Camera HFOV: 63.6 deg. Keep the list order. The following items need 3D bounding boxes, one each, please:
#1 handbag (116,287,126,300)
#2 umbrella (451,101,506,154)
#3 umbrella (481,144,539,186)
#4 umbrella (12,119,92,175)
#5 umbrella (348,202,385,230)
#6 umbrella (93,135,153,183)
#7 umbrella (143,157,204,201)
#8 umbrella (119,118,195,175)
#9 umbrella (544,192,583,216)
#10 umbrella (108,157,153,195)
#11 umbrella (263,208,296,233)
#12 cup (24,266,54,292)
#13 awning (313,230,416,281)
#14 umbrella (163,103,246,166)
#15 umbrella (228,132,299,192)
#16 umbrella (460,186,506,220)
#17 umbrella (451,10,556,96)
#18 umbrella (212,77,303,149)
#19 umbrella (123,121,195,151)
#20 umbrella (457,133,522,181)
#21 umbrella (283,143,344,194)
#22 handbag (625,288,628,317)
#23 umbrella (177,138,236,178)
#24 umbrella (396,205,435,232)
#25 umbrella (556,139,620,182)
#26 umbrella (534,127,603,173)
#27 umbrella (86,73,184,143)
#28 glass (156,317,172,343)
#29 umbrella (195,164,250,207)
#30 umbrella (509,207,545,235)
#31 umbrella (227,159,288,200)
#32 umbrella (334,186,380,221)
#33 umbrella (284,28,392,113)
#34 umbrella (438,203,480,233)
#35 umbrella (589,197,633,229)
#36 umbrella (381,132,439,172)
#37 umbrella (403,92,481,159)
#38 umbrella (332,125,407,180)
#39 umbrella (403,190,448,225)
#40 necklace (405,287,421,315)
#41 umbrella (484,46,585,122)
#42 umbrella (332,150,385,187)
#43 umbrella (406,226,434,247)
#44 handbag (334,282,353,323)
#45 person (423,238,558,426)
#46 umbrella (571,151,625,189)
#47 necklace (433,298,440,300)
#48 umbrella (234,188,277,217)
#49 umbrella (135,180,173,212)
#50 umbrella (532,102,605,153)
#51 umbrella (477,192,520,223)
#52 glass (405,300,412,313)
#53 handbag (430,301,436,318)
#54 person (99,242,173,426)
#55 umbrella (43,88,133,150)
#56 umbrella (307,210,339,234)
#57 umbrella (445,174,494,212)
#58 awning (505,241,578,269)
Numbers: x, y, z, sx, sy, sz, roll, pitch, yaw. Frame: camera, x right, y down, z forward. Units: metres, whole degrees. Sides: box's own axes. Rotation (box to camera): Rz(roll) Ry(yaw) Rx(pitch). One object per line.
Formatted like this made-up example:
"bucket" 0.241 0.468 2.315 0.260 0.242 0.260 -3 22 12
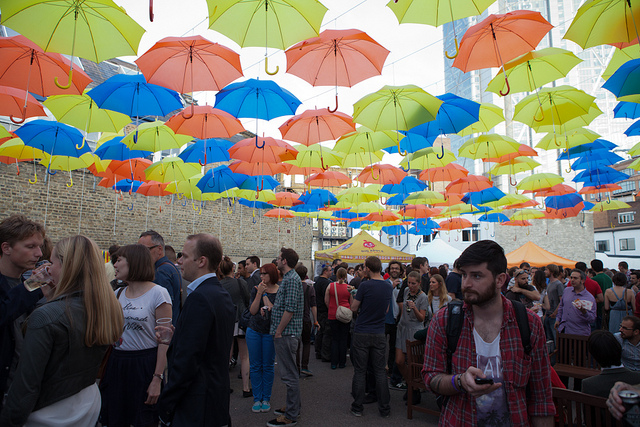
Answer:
"handbag" -2.804 1.116 7.294 0.082 0.106 0.117 17 -50 -13
"umbrella" 3.300 -1.765 11.111 1.264 0.990 1.192 -12 24 0
"umbrella" 4.737 -1.331 12.731 1.142 0.893 1.195 3 0 33
"umbrella" -5.766 -1.419 11.246 1.296 1.021 1.302 17 17 35
"umbrella" 1.803 0.082 19.712 1.036 0.853 1.059 0 -13 -5
"umbrella" -4.640 -1.228 11.995 0.834 0.740 0.754 -2 -17 -40
"umbrella" -3.642 -0.978 12.716 0.918 0.729 0.934 -12 -17 -5
"umbrella" -3.543 -1.539 11.382 0.992 0.811 0.983 -6 -27 -8
"umbrella" 7.864 -0.320 16.597 0.668 0.505 0.662 -1 -28 8
"umbrella" -4.695 -0.954 12.829 0.652 0.651 0.675 -11 -24 7
"umbrella" -2.052 0.355 25.138 1.005 1.003 1.035 -1 -17 -1
"cup" -3.391 0.789 6.238 0.239 0.162 0.156 -27 21 -10
"awning" 1.815 1.287 18.905 3.632 1.601 3.921 3 0 30
"umbrella" -2.417 -1.650 10.920 1.609 1.265 1.620 -4 26 -17
"umbrella" -1.294 -1.282 11.753 1.210 1.047 1.148 -4 -19 5
"umbrella" 5.074 -0.469 15.861 0.814 0.739 0.852 -3 -26 8
"umbrella" 2.883 -2.743 8.273 1.271 0.871 1.191 -10 -20 -11
"umbrella" -1.070 -1.782 9.500 1.316 0.974 1.313 -6 -12 18
"umbrella" -3.582 -1.600 11.514 0.996 0.502 1.016 -3 -24 -10
"umbrella" 3.846 -1.251 11.746 1.122 0.923 1.092 13 -19 -36
"umbrella" -0.104 -1.179 12.828 0.840 0.717 0.831 13 -20 -38
"handbag" 6.488 1.867 10.900 0.071 0.493 0.188 4 4 31
"umbrella" -2.620 -1.358 12.006 0.795 0.522 0.789 7 -19 -39
"umbrella" 3.725 0.206 19.938 1.001 0.871 1.034 0 -15 9
"umbrella" 6.716 -1.380 12.783 0.829 0.658 0.848 -5 -15 -4
"umbrella" 5.739 -1.455 11.899 0.877 0.636 0.851 -1 -14 -17
"umbrella" -3.612 -2.028 10.225 1.593 1.258 1.601 11 23 -3
"glass" -2.081 1.593 7.134 0.251 0.305 0.303 -1 -19 -4
"umbrella" -2.613 -0.850 13.859 0.920 0.806 0.908 -16 -37 -8
"umbrella" 10.319 0.459 25.641 1.576 1.157 1.602 -1 -12 2
"umbrella" -1.567 -0.897 12.612 1.594 1.115 1.614 4 -9 -13
"umbrella" 1.270 -0.322 17.184 1.059 0.811 1.087 -1 -11 4
"umbrella" 0.254 -2.301 8.564 1.660 1.192 1.607 2 -6 -33
"umbrella" 5.072 0.093 18.809 0.768 0.651 0.751 7 -14 -41
"umbrella" 9.755 -0.159 16.979 0.992 0.830 1.058 11 -15 -33
"umbrella" 2.217 -1.588 12.355 0.794 0.651 0.796 3 -18 -12
"umbrella" 2.459 -1.694 10.586 1.572 1.038 1.630 -10 20 23
"umbrella" 1.045 -1.326 11.406 0.853 0.615 0.862 -4 -17 -7
"umbrella" 3.245 -0.218 15.718 1.447 1.460 1.164 -1 -1 -1
"necklace" 1.828 1.662 10.078 0.298 0.427 0.112 10 1 35
"umbrella" 3.637 -2.206 8.574 1.263 0.927 1.235 -15 -26 21
"umbrella" 1.057 -1.194 13.159 0.655 0.506 0.662 16 -25 -33
"umbrella" 6.331 1.486 32.408 1.354 1.318 1.330 20 -24 -36
"handbag" 0.540 2.166 11.601 0.402 0.737 0.306 12 -36 -31
"person" 1.937 1.406 5.887 1.450 2.161 0.601 2 4 12
"umbrella" 7.270 -1.262 13.425 0.811 0.729 0.827 1 -22 -4
"necklace" 2.294 1.661 10.112 0.034 0.048 0.161 -2 5 -40
"umbrella" -1.934 -0.384 15.436 0.610 0.523 0.602 19 -25 -39
"umbrella" -4.418 -0.517 14.367 1.069 0.930 1.085 -1 -17 -15
"umbrella" 5.062 -1.891 10.353 0.919 0.680 0.940 -21 -21 36
"umbrella" 6.328 -0.199 18.269 1.120 0.850 1.142 0 -11 9
"glass" 1.727 1.811 9.992 0.070 0.212 0.153 0 -7 18
"handbag" 2.211 1.845 10.129 0.087 0.236 0.073 5 5 41
"person" -2.535 1.650 7.116 0.927 2.411 0.586 1 4 -9
"umbrella" -4.444 -1.720 9.924 1.308 1.075 1.356 -2 -11 29
"umbrella" 0.115 0.613 31.826 1.495 1.366 1.494 0 1 -23
"umbrella" 4.094 -0.644 14.204 0.769 0.656 0.788 1 -18 10
"awning" 8.500 1.625 20.288 2.444 0.883 1.834 0 4 -21
